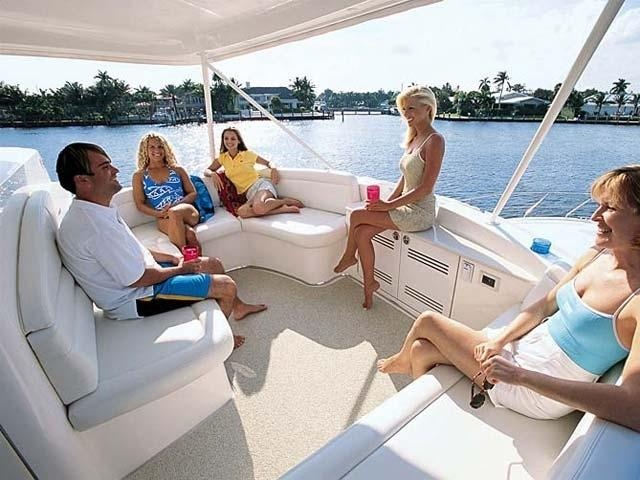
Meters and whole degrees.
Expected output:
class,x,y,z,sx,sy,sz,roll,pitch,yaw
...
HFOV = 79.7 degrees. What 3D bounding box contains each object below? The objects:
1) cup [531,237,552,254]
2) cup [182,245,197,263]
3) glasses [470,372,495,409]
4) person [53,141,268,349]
class,x,y,z,sx,sy,sz,roll,pitch,yaw
cup,1.479,0.026,2.419,0.103,0.061,0.102,-6,25,3
cup,-0.863,0.085,2.561,0.087,0.078,0.099,17,24,35
glasses,0.777,0.686,1.761,0.140,0.047,0.141,-21,17,47
person,-0.979,-0.206,2.783,1.439,1.615,0.750,-5,23,-28
